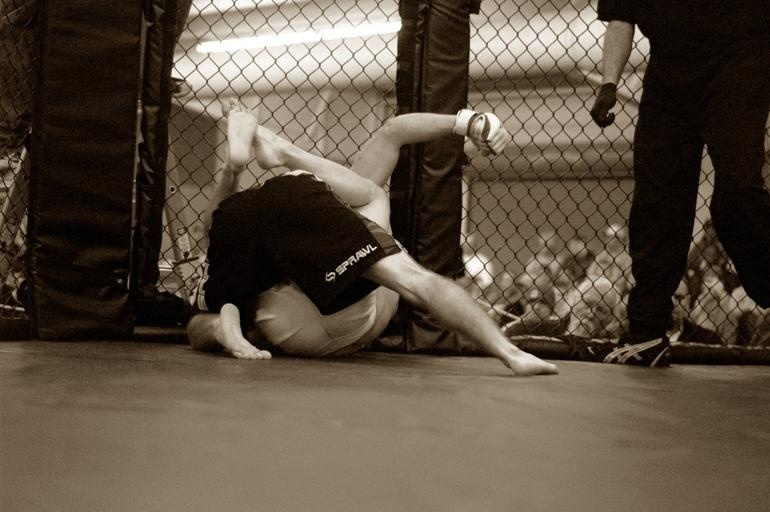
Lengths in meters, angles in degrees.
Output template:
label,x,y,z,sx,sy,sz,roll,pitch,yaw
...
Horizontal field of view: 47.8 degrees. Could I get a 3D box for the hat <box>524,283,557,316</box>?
label,x,y,z,sx,sy,sz,roll,pitch,yaw
hat,0.995,0.289,5.539,0.167,0.240,0.257,0,8,5

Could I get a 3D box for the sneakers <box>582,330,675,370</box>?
label,x,y,z,sx,sy,sz,roll,pitch,yaw
sneakers,0.845,0.350,3.218,0.410,0.156,0.134,5,-4,20
